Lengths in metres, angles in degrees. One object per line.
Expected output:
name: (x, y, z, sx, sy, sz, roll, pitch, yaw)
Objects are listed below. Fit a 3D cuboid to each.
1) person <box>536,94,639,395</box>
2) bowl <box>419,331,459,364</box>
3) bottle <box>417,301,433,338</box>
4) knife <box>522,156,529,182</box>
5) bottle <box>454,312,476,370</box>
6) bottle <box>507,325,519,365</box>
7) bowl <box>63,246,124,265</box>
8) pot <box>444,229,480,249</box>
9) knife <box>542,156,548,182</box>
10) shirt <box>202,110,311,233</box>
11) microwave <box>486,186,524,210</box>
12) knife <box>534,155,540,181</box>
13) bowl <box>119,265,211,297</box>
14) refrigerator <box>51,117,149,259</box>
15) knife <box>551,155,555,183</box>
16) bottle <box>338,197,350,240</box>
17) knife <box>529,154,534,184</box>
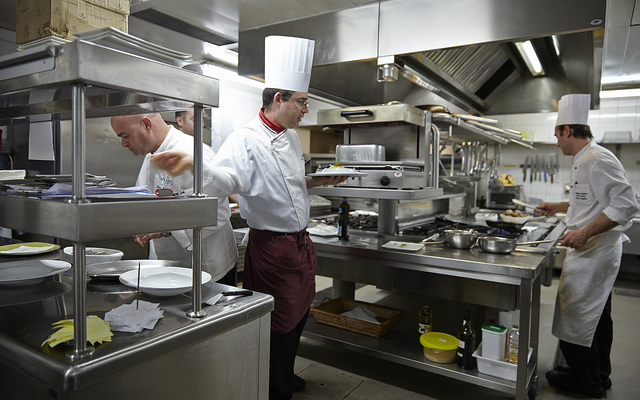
person: (2.017, 0.303, 3.207, 0.571, 2.201, 0.715, 4, 7, 27)
bowl: (0.859, 1.034, 2.946, 0.288, 0.104, 0.282, 1, 8, 0)
bottle: (0.795, 0.929, 3.181, 0.112, 0.332, 0.106, 1, 3, 0)
knife: (3.262, -0.499, 6.666, 0.073, 0.331, 0.029, 14, 7, 26)
bottle: (1.001, 0.953, 2.890, 0.127, 0.363, 0.191, 3, 6, 17)
bottle: (1.277, 0.964, 2.779, 0.062, 0.200, 0.255, 4, 7, 25)
bowl: (-1.239, 0.296, 2.280, 0.267, 0.055, 0.261, 2, 0, 0)
pot: (1.081, 0.293, 3.103, 0.273, 0.127, 0.155, -1, 6, -22)
knife: (3.488, -0.477, 6.519, 0.062, 0.404, 0.040, 0, 1, 28)
shirt: (-0.316, -0.160, 2.708, 0.357, 0.749, 1.326, 1, 9, 27)
microwave: (2.483, -0.033, 5.695, 0.407, 0.292, 0.432, 0, -1, 28)
knife: (3.409, -0.513, 6.599, 0.053, 0.350, 0.020, 10, 8, 29)
bowl: (-0.698, 0.390, 1.914, 0.379, 0.069, 0.345, 3, 2, 0)
refrigerator: (-2.189, -0.341, 4.005, 0.741, 0.929, 0.674, 12, 17, -1)
knife: (3.603, -0.494, 6.496, 0.064, 0.429, 0.026, 0, 2, 34)
bottle: (0.193, 0.144, 3.340, 0.087, 0.330, 0.175, 1, 6, 3)
knife: (3.341, -0.462, 6.642, 0.027, 0.337, 0.049, -1, 7, -43)
